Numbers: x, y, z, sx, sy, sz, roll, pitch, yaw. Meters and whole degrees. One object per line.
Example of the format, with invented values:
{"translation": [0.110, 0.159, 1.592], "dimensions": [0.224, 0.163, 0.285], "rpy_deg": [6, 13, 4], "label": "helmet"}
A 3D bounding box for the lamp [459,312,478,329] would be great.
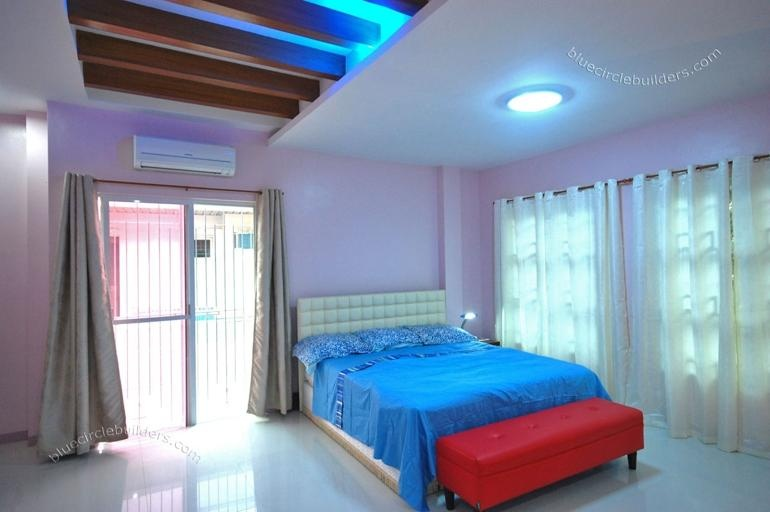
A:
{"translation": [1.294, 0.951, 7.919], "dimensions": [0.219, 0.320, 0.284], "rpy_deg": [2, -7, -16], "label": "lamp"}

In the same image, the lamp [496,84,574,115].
{"translation": [1.637, -1.698, 5.702], "dimensions": [0.796, 0.217, 0.587], "rpy_deg": [-3, -1, 17], "label": "lamp"}
